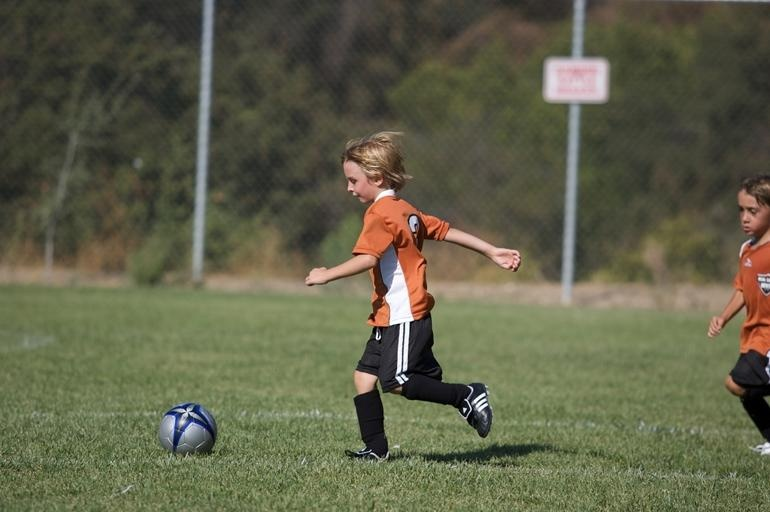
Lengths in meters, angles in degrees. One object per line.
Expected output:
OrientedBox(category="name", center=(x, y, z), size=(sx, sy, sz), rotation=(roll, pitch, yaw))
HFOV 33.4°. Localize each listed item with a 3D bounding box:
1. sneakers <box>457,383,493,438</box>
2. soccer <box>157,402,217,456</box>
OrientedBox(category="sneakers", center=(0.831, 1.412, 11.860), size=(0.266, 0.613, 0.209), rotation=(-10, -8, -21))
OrientedBox(category="soccer", center=(-1.809, 1.665, 11.781), size=(0.431, 0.481, 0.453), rotation=(12, -21, -12))
